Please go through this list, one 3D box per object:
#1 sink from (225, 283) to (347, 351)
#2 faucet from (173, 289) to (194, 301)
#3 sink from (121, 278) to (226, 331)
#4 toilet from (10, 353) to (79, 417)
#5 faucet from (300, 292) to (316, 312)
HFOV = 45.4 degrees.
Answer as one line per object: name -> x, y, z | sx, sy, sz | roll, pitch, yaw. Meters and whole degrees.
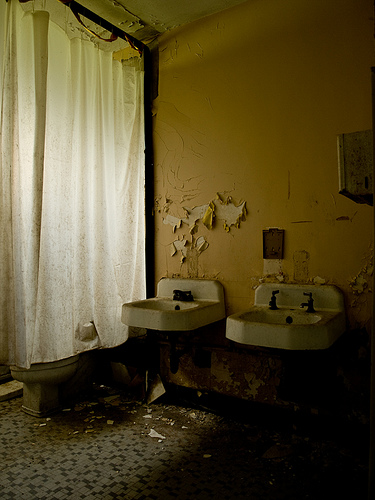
sink -> 0.458, 0.293, 2.015 | 0.470, 0.231, 0.566 | 1, 5, 22
faucet -> -0.026, 0.250, 2.477 | 0.089, 0.043, 0.055 | 4, 1, 5
sink -> -0.105, 0.279, 2.361 | 0.466, 0.193, 0.507 | 2, 6, 30
toilet -> -0.809, 0.708, 2.514 | 0.339, 0.366, 0.337 | -2, 0, -20
faucet -> 0.555, 0.242, 2.048 | 0.089, 0.106, 0.056 | 0, -1, 5
